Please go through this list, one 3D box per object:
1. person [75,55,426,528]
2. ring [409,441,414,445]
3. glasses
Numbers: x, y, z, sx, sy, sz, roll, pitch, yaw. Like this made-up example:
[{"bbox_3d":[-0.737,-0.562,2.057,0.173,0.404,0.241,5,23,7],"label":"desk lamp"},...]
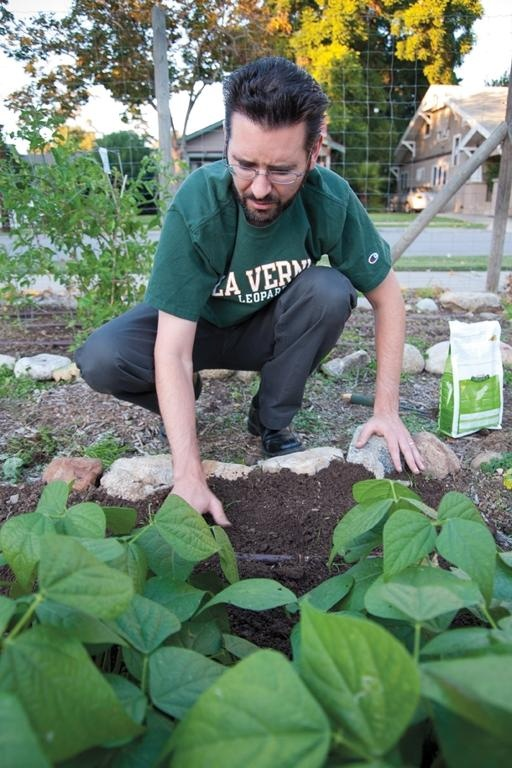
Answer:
[{"bbox_3d":[-0.006,-0.280,1.874,0.969,1.203,0.821,-14,17,-35],"label":"person"},{"bbox_3d":[0.482,0.183,1.912,0.007,0.007,0.028,2,1,20],"label":"ring"},{"bbox_3d":[0.031,-0.524,1.517,0.192,0.075,0.109,-4,14,-4],"label":"glasses"}]
